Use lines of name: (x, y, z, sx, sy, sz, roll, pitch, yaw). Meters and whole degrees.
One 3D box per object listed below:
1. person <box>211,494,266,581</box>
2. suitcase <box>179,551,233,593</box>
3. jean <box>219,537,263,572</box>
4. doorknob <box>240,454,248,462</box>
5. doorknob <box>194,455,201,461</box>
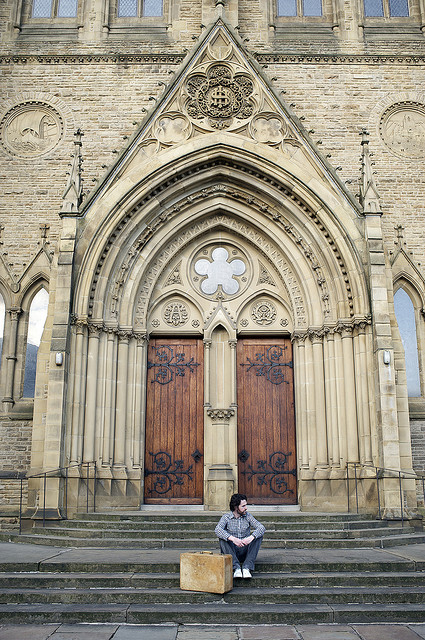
person: (0.339, 2.546, 8.646, 0.528, 0.887, 0.897, 0, -6, -5)
suitcase: (-0.045, 2.671, 7.777, 0.542, 0.407, 0.291, -4, -8, 27)
jean: (0.349, 2.666, 8.369, 0.361, 0.260, 0.455, 2, -10, -4)
doorknob: (0.666, 2.902, 15.280, 0.158, 0.149, 0.066, -2, -19, 1)
doorknob: (-0.307, 2.902, 15.317, 0.132, 0.113, 0.049, 0, -19, -2)
